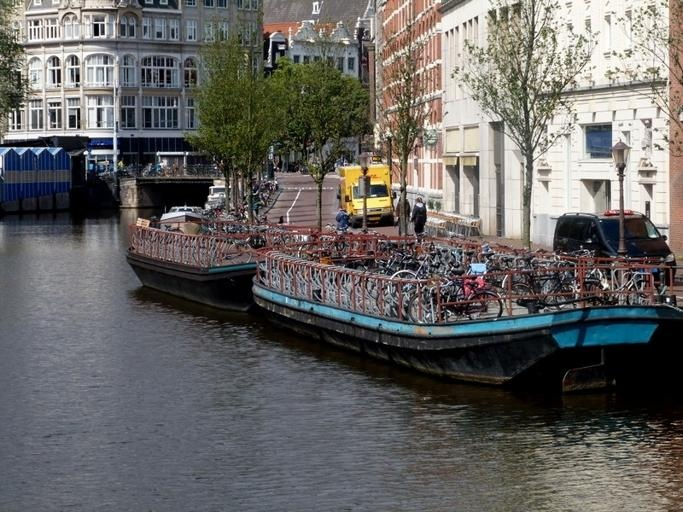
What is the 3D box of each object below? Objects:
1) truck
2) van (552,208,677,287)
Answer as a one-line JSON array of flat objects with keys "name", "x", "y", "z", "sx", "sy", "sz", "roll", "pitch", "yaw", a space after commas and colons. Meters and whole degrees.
[{"name": "truck", "x": 1.311, "y": -3.267, "z": 66.686, "sx": 2.418, "sy": 2.806, "sz": 5.368, "roll": -4, "pitch": 11, "yaw": -9}, {"name": "van", "x": 6.817, "y": -0.285, "z": 32.088, "sx": 1.582, "sy": 1.443, "sz": 2.760, "roll": -1, "pitch": 0, "yaw": -22}]
